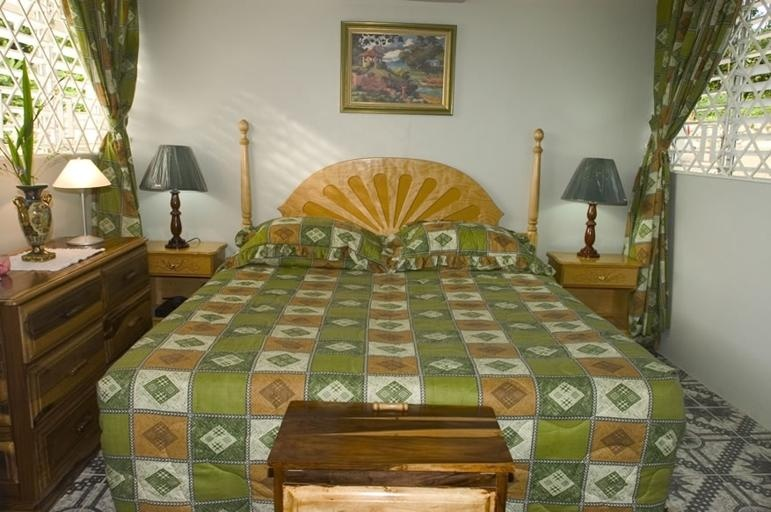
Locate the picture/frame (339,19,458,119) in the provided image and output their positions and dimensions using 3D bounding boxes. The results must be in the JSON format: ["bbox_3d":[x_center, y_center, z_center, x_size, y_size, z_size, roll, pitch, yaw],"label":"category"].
[{"bbox_3d":[0.091,-1.611,4.192,1.023,0.587,0.063,1,6,-3],"label":"picture/frame"}]

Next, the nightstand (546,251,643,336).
[{"bbox_3d":[1.819,0.272,4.498,1.019,0.741,0.685,0,13,-2],"label":"nightstand"}]
